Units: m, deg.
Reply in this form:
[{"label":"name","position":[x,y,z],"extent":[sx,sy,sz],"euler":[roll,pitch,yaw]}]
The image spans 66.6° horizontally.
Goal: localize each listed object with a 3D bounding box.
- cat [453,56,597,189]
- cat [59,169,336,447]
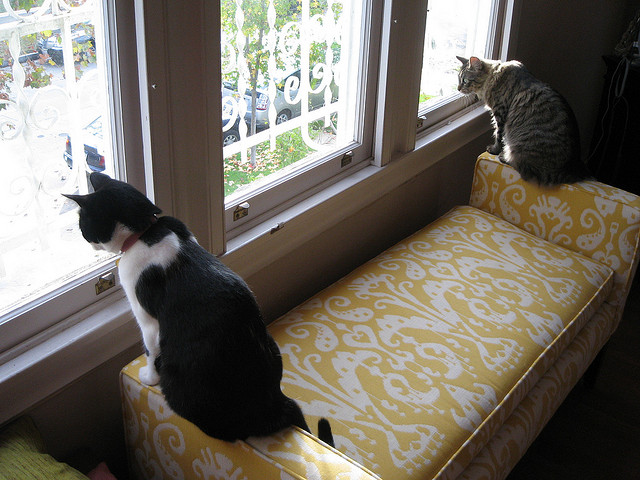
[{"label":"cat","position":[0.872,-0.524,2.055],"extent":[0.354,0.370,0.653],"euler":[-10,35,-15]},{"label":"cat","position":[-0.265,0.146,1.029],"extent":[0.490,0.493,0.222],"euler":[25,40,32]}]
